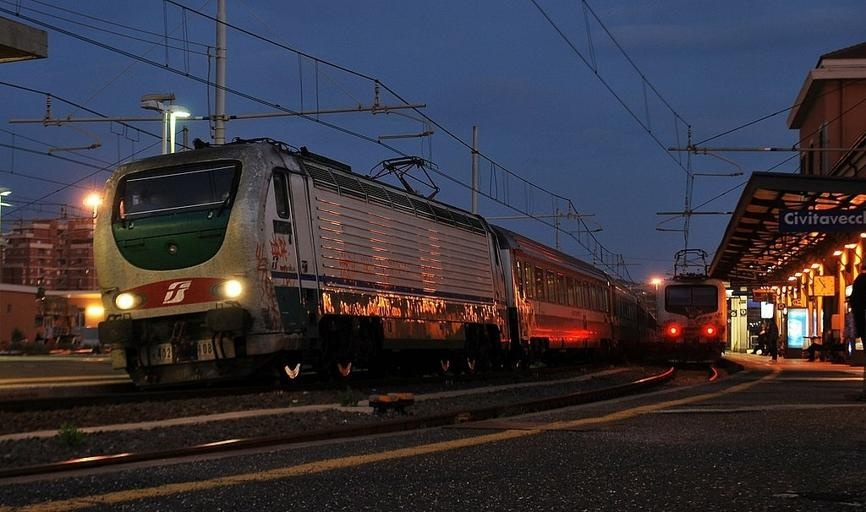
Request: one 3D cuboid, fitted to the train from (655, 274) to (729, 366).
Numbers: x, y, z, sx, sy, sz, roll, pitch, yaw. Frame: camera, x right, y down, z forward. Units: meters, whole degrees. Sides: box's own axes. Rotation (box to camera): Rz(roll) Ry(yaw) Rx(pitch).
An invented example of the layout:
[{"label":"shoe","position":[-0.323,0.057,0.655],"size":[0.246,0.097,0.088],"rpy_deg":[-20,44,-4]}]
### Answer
[{"label":"train","position":[11.547,2.776,35.155],"size":[2.894,3.774,1.836],"rpy_deg":[0,-1,14]}]
